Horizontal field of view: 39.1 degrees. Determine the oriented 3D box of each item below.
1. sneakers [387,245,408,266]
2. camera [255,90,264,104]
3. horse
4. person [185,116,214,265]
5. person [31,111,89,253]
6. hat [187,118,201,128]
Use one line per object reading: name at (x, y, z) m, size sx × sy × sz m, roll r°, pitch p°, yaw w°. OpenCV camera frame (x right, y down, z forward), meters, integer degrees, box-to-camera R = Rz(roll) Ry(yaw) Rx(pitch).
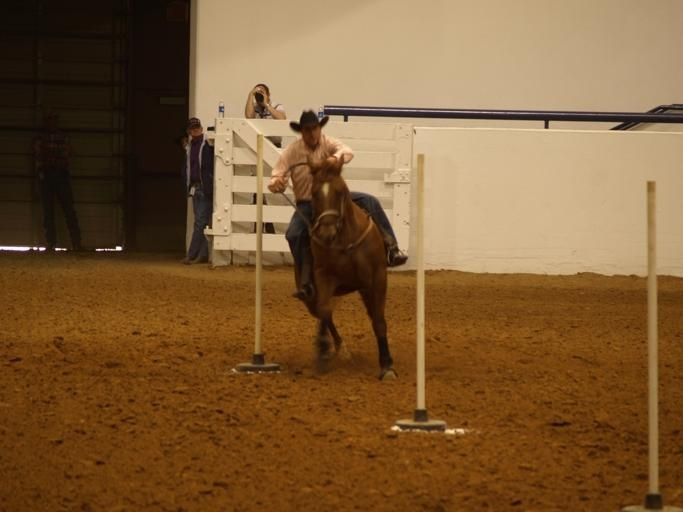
sneakers at (0.662, -0.014, 11.643) m, size 0.276 × 0.288 × 0.689 m, roll 1°, pitch -3°, yaw 6°
camera at (-1.458, -2.812, 16.945) m, size 0.171 × 0.229 × 0.181 m, roll 2°, pitch 2°, yaw 2°
horse at (0.072, 0.112, 10.717) m, size 0.937 × 2.390 × 0.831 m, roll -3°, pitch 13°, yaw -19°
person at (-2.689, -1.205, 17.772) m, size 0.527 × 2.636 × 0.986 m, roll -2°, pitch 13°, yaw -16°
person at (-6.539, -1.657, 21.925) m, size 0.890 × 3.116 × 1.430 m, roll -3°, pitch 13°, yaw -19°
hat at (-2.759, -2.494, 17.855) m, size 0.215 × 0.174 × 0.363 m, roll 0°, pitch 13°, yaw -6°
